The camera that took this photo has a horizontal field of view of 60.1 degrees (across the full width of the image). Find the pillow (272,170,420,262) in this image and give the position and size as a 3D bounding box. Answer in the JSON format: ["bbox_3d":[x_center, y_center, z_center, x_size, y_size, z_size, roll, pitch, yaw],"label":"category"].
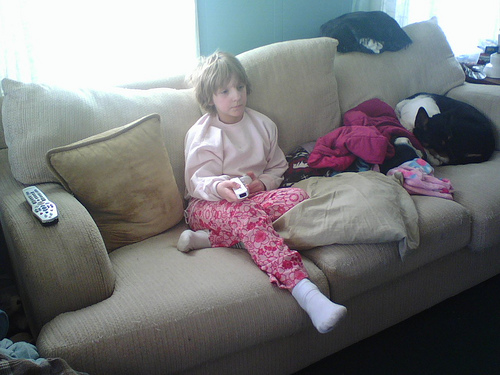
[{"bbox_3d":[0.419,0.102,1.799,0.413,0.143,0.451,-5,45,4],"label":"pillow"}]

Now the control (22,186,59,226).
[{"bbox_3d":[-0.790,0.031,1.623,0.086,0.047,0.270,-14,40,-31],"label":"control"}]

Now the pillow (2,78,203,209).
[{"bbox_3d":[-0.646,-0.170,1.845,0.511,0.356,0.179,-11,-13,-36],"label":"pillow"}]

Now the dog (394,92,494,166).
[{"bbox_3d":[1.016,-0.337,2.314,0.308,0.223,0.466,-27,36,-14],"label":"dog"}]

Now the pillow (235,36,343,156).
[{"bbox_3d":[0.204,-0.436,2.405,0.592,0.602,0.233,-15,8,-20],"label":"pillow"}]

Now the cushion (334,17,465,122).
[{"bbox_3d":[0.865,-0.602,2.687,0.856,0.561,0.226,-15,7,-16],"label":"cushion"}]

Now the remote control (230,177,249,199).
[{"bbox_3d":[-0.045,0.003,1.797,0.046,0.053,0.107,-11,23,-12],"label":"remote control"}]

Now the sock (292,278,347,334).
[{"bbox_3d":[0.241,0.426,1.597,0.136,0.100,0.232,-23,39,-21],"label":"sock"}]

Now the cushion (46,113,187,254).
[{"bbox_3d":[-0.520,-0.007,1.877,0.522,0.513,0.274,-30,50,-32],"label":"cushion"}]

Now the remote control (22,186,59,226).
[{"bbox_3d":[-0.796,0.049,1.644,0.086,0.048,0.271,-14,39,-30],"label":"remote control"}]

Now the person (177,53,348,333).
[{"bbox_3d":[0.044,-0.044,1.827,0.588,0.883,1.152,-10,25,-26],"label":"person"}]

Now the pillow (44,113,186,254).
[{"bbox_3d":[-0.577,-0.009,1.770,0.403,0.407,0.211,-32,38,-28],"label":"pillow"}]

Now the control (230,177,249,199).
[{"bbox_3d":[-0.045,0.003,1.797,0.046,0.053,0.107,-11,23,-12],"label":"control"}]
